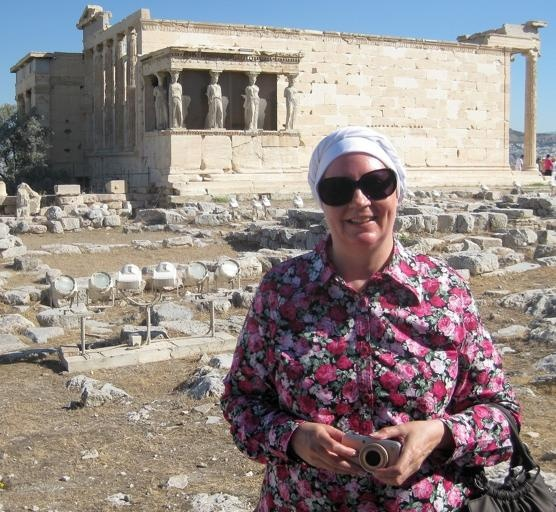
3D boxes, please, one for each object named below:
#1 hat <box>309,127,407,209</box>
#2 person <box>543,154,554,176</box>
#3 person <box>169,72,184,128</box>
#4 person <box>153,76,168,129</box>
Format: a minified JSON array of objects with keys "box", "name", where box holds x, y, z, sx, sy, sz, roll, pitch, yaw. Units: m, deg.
[{"box":[0.262,-0.337,3.278,0.480,0.248,0.512,-10,1,11],"name":"hat"},{"box":[10.785,-3.619,32.815,0.405,0.804,1.963,-1,10,18],"name":"person"},{"box":[-2.899,-4.390,23.364,0.435,1.599,0.800,-6,11,-6],"name":"person"},{"box":[-3.381,-4.503,24.113,0.382,1.630,0.693,-6,11,-8],"name":"person"}]
